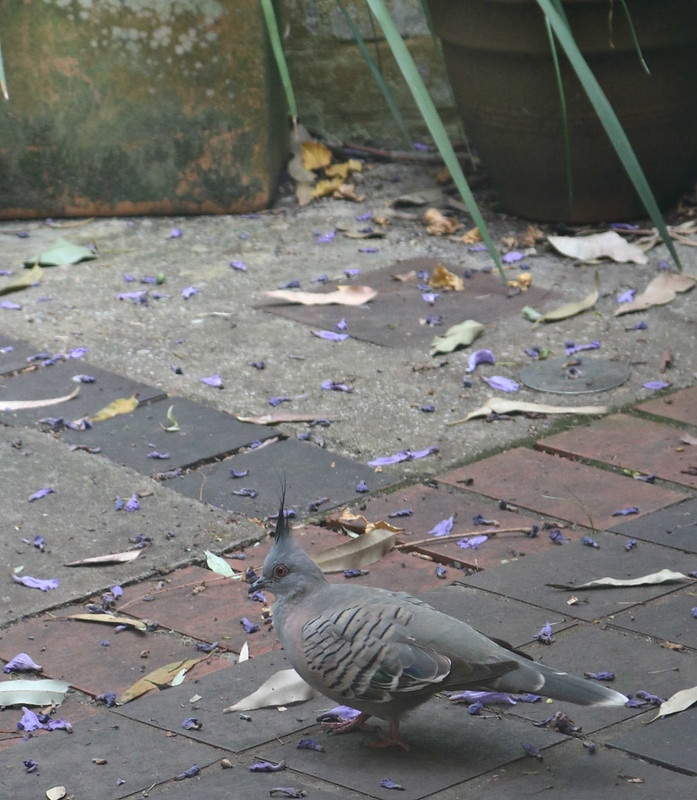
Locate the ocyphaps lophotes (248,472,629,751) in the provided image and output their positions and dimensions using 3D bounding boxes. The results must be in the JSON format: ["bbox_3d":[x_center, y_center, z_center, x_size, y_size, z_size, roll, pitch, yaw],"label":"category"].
[{"bbox_3d":[0.154,0.417,2.045,0.684,0.349,0.214,7,22,7],"label":"ocyphaps lophotes"}]
